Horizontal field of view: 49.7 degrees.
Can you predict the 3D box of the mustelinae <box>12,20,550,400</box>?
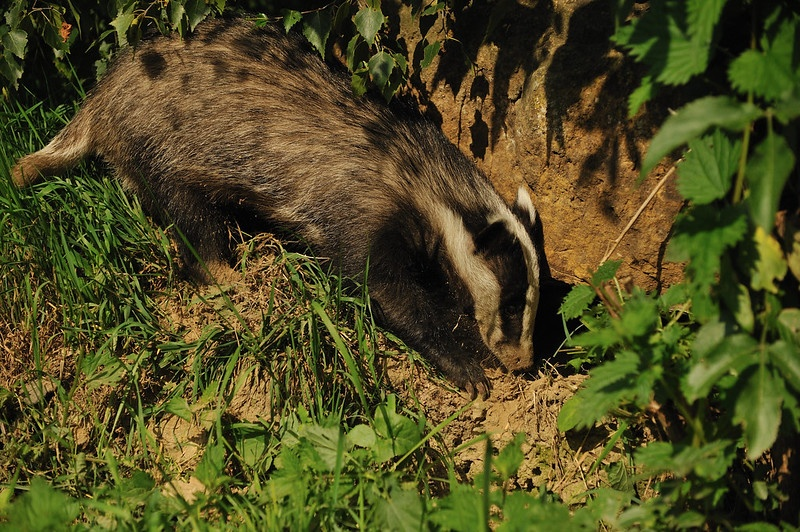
[{"bbox_3d":[-1.017,-0.668,6.175,4.409,1.794,1.218,17,24,18],"label":"mustelinae"}]
